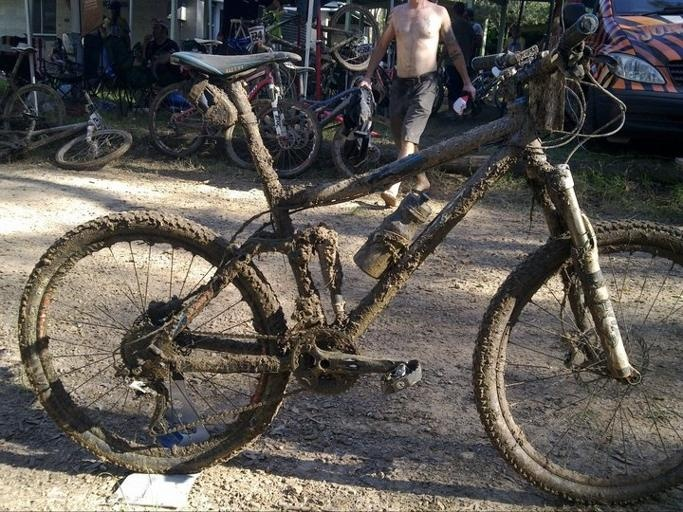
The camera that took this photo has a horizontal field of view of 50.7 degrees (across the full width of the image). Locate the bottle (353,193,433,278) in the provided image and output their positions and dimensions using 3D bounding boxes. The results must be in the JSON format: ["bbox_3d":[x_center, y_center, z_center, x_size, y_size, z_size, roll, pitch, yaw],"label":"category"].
[{"bbox_3d":[0.251,-0.115,3.662,0.379,0.443,0.191,3,19,1],"label":"bottle"}]
